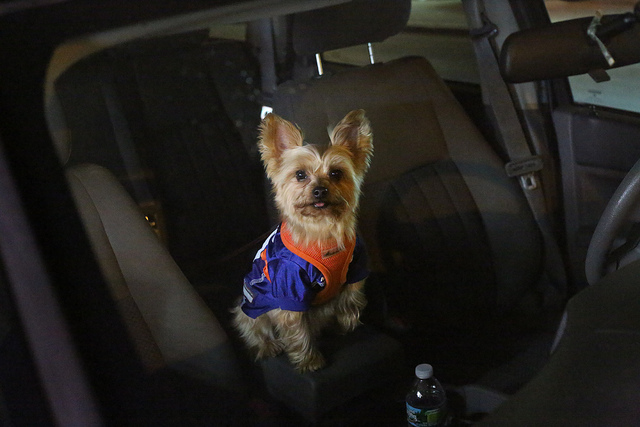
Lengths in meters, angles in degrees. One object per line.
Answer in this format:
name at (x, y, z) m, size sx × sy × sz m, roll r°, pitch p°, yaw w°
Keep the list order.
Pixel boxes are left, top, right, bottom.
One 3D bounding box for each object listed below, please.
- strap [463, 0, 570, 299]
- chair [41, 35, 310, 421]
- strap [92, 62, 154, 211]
strap at (0.951, -0.284, 2.425) m, size 0.155 × 1.470 × 0.166 m, roll -16°, pitch 2°, yaw 12°
chair at (-0.410, -0.004, 1.905) m, size 0.513 × 1.271 × 1.061 m, roll -11°, pitch 12°, yaw 5°
strap at (-0.653, -0.245, 1.732) m, size 0.065 × 0.496 × 0.196 m, roll -15°, pitch 13°, yaw -16°
